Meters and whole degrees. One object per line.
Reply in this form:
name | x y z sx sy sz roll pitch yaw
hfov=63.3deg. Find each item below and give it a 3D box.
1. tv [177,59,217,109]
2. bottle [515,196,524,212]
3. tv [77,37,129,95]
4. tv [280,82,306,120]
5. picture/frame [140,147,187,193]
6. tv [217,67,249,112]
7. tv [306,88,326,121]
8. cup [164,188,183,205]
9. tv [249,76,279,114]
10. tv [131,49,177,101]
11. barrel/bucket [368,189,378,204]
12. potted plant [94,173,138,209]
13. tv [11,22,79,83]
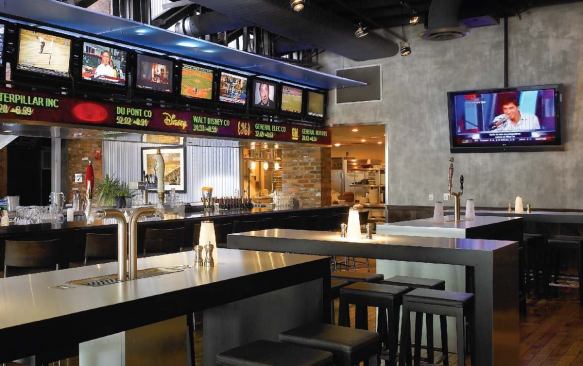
tv | -1.525 -1.559 7.484 0.925 0.734 0.090 -1 8 -40
bottle | 3.788 0.355 7.870 0.115 0.229 0.380 -2 0 24
tv | -2.599 -1.591 6.428 0.911 0.728 0.089 0 8 -41
tv | -0.001 -1.570 8.998 0.083 0.572 0.801 -1 -2 36
picture/frame | -3.120 -0.337 11.775 1.465 1.271 0.104 1 3 27
tv | -1.019 -1.572 7.983 0.084 0.748 0.851 -4 -6 44
tv | 0.468 -1.586 9.523 0.099 0.524 0.735 -5 -5 30
cup | -2.384 0.273 9.509 0.307 0.266 0.285 0 -6 0
tv | -0.522 -1.560 8.428 0.378 0.654 0.755 4 5 42
tv | -2.055 -1.580 6.954 0.885 0.702 0.116 -2 8 -40
barrel/bucket | 2.832 0.450 16.333 0.324 0.468 0.316 -2 0 0
potted plant | -4.077 0.177 10.792 0.856 0.725 0.848 1 -3 17
tv | -3.120 -1.626 5.894 0.084 0.667 0.860 2 -2 39
